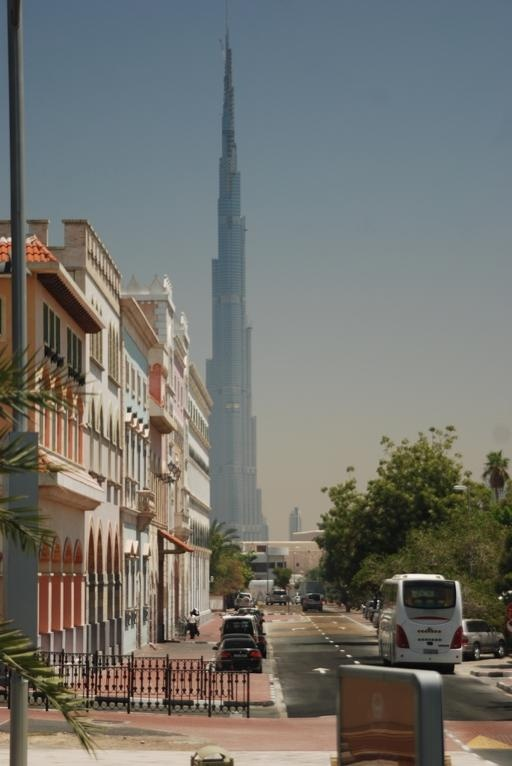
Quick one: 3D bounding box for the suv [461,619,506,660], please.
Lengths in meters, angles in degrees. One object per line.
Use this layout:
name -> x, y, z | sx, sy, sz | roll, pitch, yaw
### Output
suv -> 8.019, 9.254, 46.497 | 1.086, 1.313, 2.466 | -1, -1, 36

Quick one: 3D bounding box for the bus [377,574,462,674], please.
bus -> 4.910, 6.896, 38.091 | 1.418, 1.927, 4.107 | 0, -3, 2
